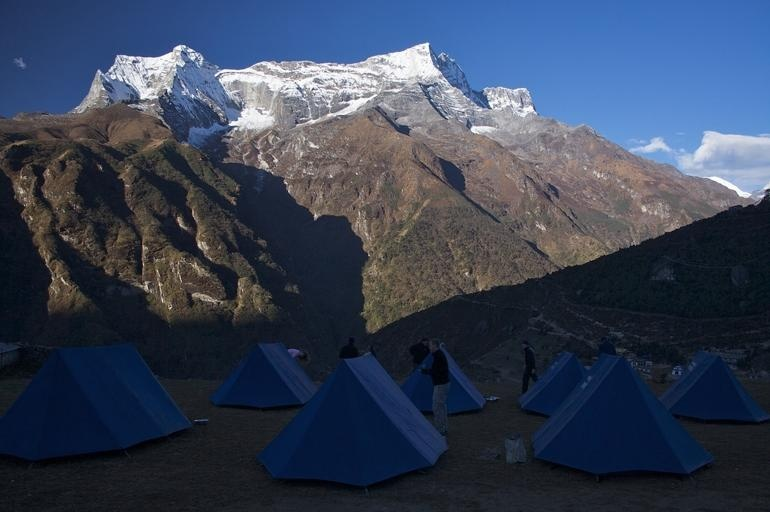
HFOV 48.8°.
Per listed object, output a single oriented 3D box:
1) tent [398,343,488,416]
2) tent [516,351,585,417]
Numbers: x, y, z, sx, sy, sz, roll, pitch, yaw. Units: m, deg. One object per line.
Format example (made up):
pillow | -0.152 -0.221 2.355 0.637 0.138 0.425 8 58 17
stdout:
tent | 7.204 16.407 107.440 8.511 8.859 6.311 -5 0 5
tent | 20.343 15.769 107.375 9.507 7.016 6.092 0 0 -3
